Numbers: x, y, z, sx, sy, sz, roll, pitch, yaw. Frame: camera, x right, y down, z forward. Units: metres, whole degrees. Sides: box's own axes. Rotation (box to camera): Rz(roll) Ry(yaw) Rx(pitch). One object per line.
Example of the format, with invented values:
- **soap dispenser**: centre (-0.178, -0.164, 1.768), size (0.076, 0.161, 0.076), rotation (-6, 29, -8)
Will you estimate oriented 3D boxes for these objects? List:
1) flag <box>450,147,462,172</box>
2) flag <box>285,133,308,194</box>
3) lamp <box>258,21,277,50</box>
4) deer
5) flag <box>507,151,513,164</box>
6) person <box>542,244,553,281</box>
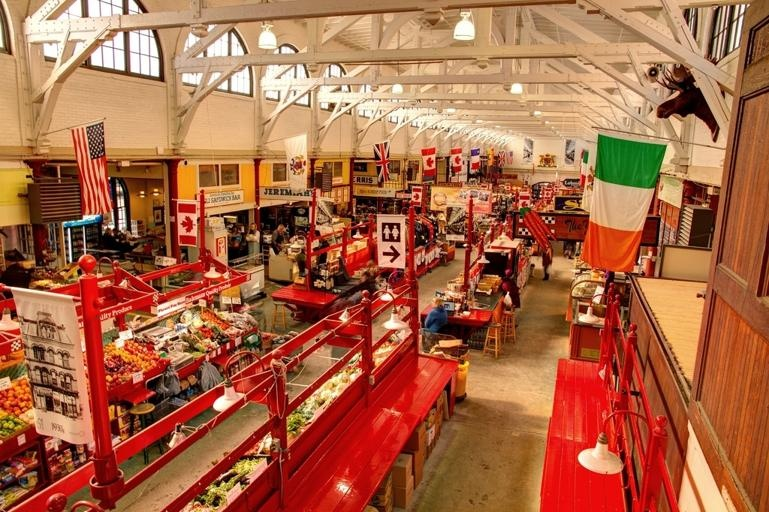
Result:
- **flag**: centre (3.430, -4.576, 25.015), size (0.420, 1.065, 1.012), rotation (-1, 9, 1)
- **flag**: centre (-2.848, -3.012, 17.094), size (0.674, 1.783, 1.102), rotation (-3, 9, -12)
- **lamp**: centre (-2.588, -4.907, 11.644), size (0.295, 0.689, 1.491), rotation (-2, 9, -9)
- **deer**: centre (5.069, -2.699, 8.936), size (0.676, 1.220, 1.086), rotation (-3, 9, -14)
- **flag**: centre (13.378, -10.560, 56.652), size (0.126, 1.597, 1.257), rotation (9, 14, 40)
- **person**: centre (6.169, 0.290, 20.114), size (0.368, 1.400, 1.251), rotation (2, 8, 6)
